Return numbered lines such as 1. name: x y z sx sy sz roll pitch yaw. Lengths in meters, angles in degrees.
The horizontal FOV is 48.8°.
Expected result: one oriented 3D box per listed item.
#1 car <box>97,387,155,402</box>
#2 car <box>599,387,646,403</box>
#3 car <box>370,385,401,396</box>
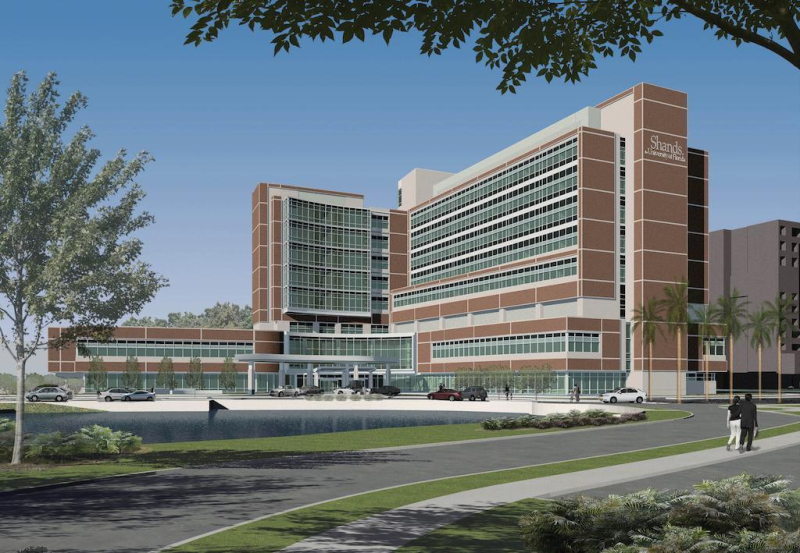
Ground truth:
1. car: -27.753 11.822 88.898 6.535 1.536 3.018 -10 -13 33
2. car: 20.348 10.863 80.292 3.313 1.066 1.750 3 -10 -6
3. car: -2.048 12.950 100.330 2.761 0.848 1.327 0 -5 28
